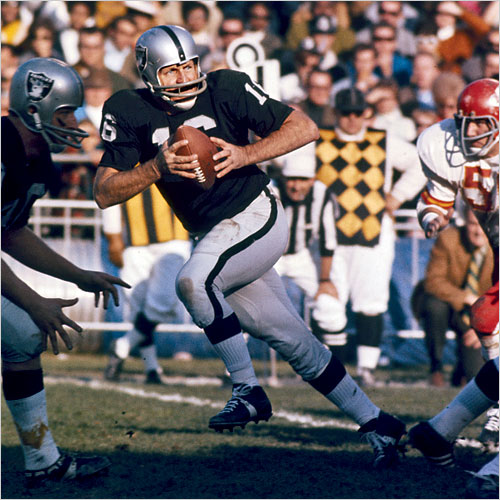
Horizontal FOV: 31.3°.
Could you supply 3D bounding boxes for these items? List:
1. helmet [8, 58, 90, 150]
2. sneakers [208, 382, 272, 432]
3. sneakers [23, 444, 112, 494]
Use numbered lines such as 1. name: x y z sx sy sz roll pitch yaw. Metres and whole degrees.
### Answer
1. helmet: -0.902 -0.688 4.164 0.489 0.408 0.346 7 4 -9
2. sneakers: -0.053 0.694 3.949 0.133 0.176 0.387 -7 -6 39
3. sneakers: -0.805 0.987 3.991 0.390 0.135 0.131 -5 -5 -16
